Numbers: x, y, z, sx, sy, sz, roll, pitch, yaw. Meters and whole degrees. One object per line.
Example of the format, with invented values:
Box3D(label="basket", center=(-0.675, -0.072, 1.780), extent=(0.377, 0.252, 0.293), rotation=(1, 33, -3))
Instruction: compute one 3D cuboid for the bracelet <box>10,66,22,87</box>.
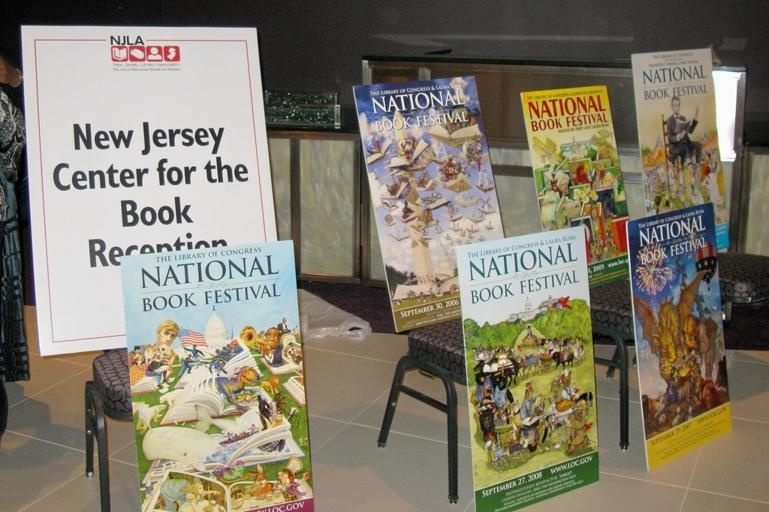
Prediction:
Box3D(label="bracelet", center=(-1.755, -0.844, 2.948), extent=(0.078, 0.100, 0.029), rotation=(-1, -7, -34))

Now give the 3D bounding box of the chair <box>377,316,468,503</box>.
Box3D(label="chair", center=(0.244, 0.727, 3.036), extent=(0.368, 0.806, 0.608), rotation=(-10, 11, -30))
